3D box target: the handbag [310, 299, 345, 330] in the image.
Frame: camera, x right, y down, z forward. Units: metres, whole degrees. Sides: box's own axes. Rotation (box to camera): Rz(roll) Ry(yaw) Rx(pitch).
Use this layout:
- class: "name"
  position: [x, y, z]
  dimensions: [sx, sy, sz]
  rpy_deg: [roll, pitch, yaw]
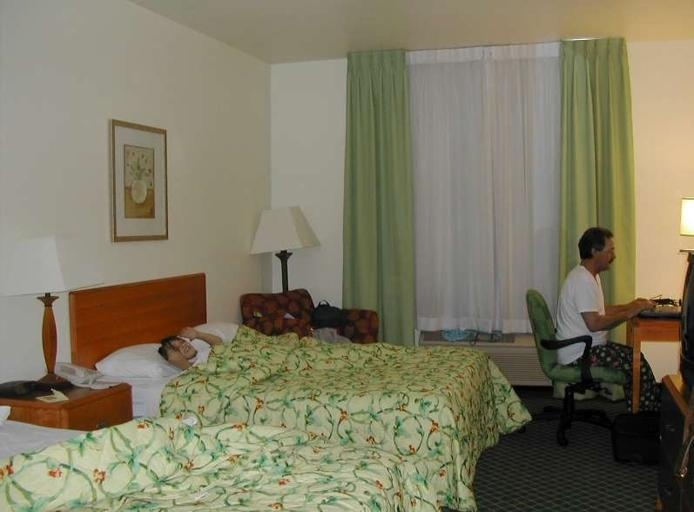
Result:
- class: "handbag"
  position: [-0.176, 0.588, 5.632]
  dimensions: [0.266, 0.220, 0.131]
  rpy_deg: [-10, -20, -5]

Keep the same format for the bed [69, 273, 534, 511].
- class: "bed"
  position: [-0.375, 0.843, 4.206]
  dimensions: [2.184, 0.995, 1.689]
  rpy_deg: [1, 8, 17]

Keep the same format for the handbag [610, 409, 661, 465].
- class: "handbag"
  position: [2.035, 1.289, 4.151]
  dimensions: [0.299, 0.357, 0.200]
  rpy_deg: [-1, 4, 25]

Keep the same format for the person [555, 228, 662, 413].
- class: "person"
  position: [2.065, 0.574, 4.657]
  dimensions: [0.816, 1.527, 0.664]
  rpy_deg: [1, 12, 15]

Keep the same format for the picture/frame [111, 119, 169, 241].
- class: "picture/frame"
  position: [-1.604, -0.568, 4.568]
  dimensions: [0.068, 0.909, 0.581]
  rpy_deg: [-1, 4, 24]

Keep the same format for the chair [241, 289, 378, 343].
- class: "chair"
  position: [-0.400, 0.572, 5.579]
  dimensions: [0.675, 0.480, 0.732]
  rpy_deg: [-5, -8, 36]
